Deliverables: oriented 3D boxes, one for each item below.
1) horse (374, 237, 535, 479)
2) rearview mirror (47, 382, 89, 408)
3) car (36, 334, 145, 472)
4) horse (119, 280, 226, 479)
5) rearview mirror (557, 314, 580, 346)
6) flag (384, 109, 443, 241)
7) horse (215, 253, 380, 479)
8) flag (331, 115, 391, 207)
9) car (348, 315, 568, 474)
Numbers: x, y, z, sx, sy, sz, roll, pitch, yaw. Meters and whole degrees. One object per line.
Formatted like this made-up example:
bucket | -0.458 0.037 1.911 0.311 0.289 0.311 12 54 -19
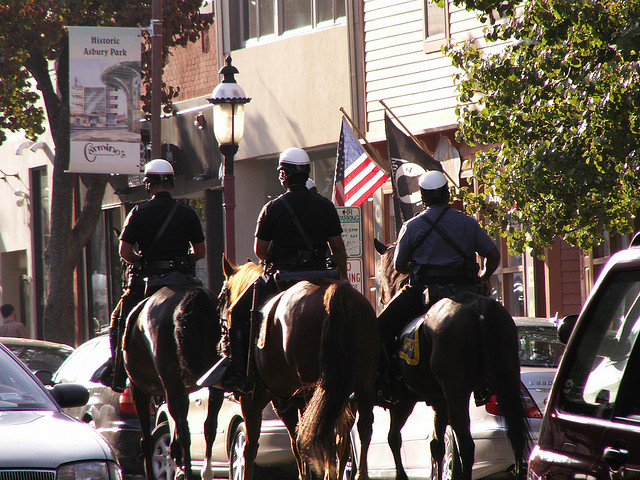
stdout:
horse | 1.468 1.681 17.174 1.010 2.411 2.068 -1 4 -22
rearview mirror | -2.652 1.642 15.886 0.308 0.251 0.478 3 4 40
car | -2.987 2.199 20.768 1.141 1.188 2.425 1 -2 -17
horse | -1.771 1.801 18.777 0.995 2.593 1.874 -2 4 -25
rearview mirror | 2.273 0.794 13.712 0.060 0.253 0.258 15 -28 16
flag | 1.402 -1.064 23.866 0.628 1.924 1.010 -1 4 -17
horse | -0.212 1.598 16.819 0.930 2.390 1.774 -3 4 -39
flag | 0.557 -1.281 24.028 0.768 1.465 1.021 1 4 19
car | 1.860 1.897 17.886 1.467 1.357 2.900 -1 -1 -19
